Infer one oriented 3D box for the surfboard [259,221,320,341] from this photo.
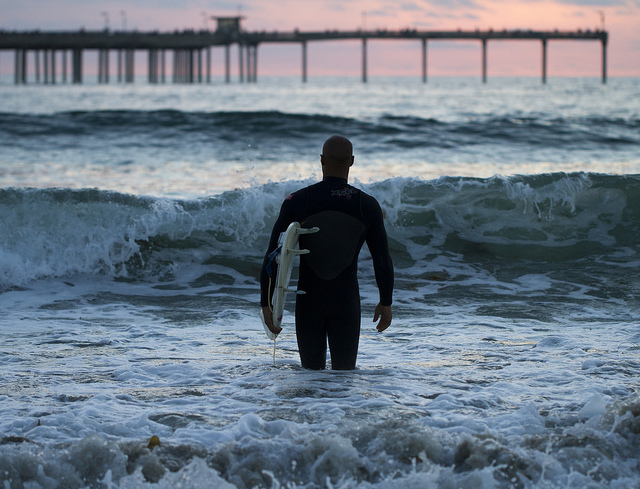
[{"bbox_3d":[-0.525,0.583,18.693,1.085,1.840,0.298,11,13,-17],"label":"surfboard"}]
